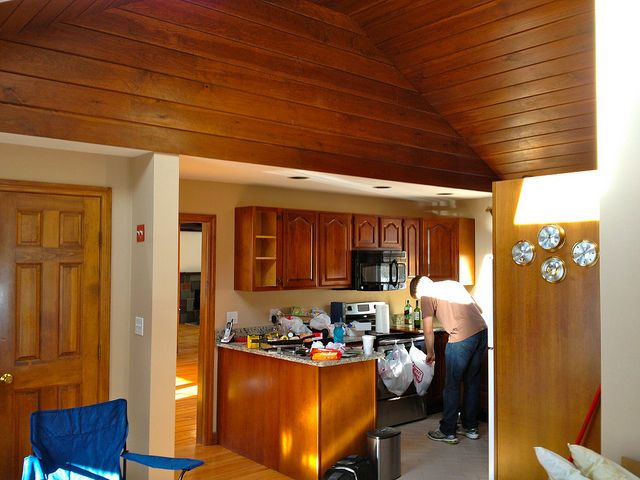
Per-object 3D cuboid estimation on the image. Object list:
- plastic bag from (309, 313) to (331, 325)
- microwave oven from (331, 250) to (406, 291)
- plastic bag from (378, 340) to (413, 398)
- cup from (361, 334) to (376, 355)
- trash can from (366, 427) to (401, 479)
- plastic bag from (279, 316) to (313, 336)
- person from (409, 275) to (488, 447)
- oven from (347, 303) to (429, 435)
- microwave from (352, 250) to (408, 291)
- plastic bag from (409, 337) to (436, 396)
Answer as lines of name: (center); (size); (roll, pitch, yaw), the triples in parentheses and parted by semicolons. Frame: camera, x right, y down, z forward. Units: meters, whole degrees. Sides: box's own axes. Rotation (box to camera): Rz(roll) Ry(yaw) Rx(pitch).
plastic bag: (0.014, 0.945, 5.861); (0.299, 0.127, 0.151); (1, -4, -29)
microwave oven: (0.790, 0.426, 6.721); (0.533, 0.487, 0.997); (-2, -2, 40)
plastic bag: (0.881, 1.533, 5.901); (0.326, 0.590, 0.485); (-5, 2, 4)
cup: (0.478, 1.050, 4.956); (0.149, 0.198, 0.178); (2, -4, -34)
trash can: (0.589, 2.011, 4.598); (0.412, 0.474, 0.268); (1, -3, -40)
plastic bag: (-0.240, 0.974, 5.646); (0.356, 0.181, 0.372); (1, -4, -32)
person: (1.523, 1.359, 5.700); (0.819, 1.863, 0.473); (-1, -3, 10)
oven: (0.776, 1.547, 6.150); (0.898, 1.465, 0.763); (-4, 4, -34)
microwave: (0.812, 0.416, 6.676); (0.814, 0.507, 0.443); (0, -1, -33)
plastic bag: (1.237, 1.555, 6.026); (0.232, 0.567, 0.322); (-21, 2, 6)
